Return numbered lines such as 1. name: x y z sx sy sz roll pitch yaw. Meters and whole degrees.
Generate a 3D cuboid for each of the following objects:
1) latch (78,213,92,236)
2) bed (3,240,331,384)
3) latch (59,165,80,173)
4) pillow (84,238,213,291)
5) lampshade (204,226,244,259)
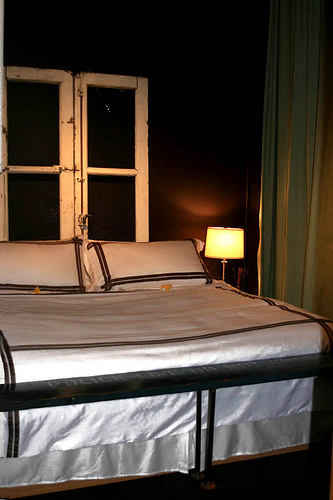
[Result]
1. latch: -0.598 -0.197 3.142 0.128 0.196 0.107 0 -1 4
2. bed: -0.115 0.175 2.011 1.224 0.239 1.486 0 7 -21
3. latch: -0.690 -0.573 3.031 0.130 0.057 0.041 -2 6 -17
4. pillow: -0.106 0.100 2.628 0.485 0.434 0.136 1 -40 -24
5. lampshade: 0.413 -0.048 3.156 0.216 0.171 0.229 1 0 0
